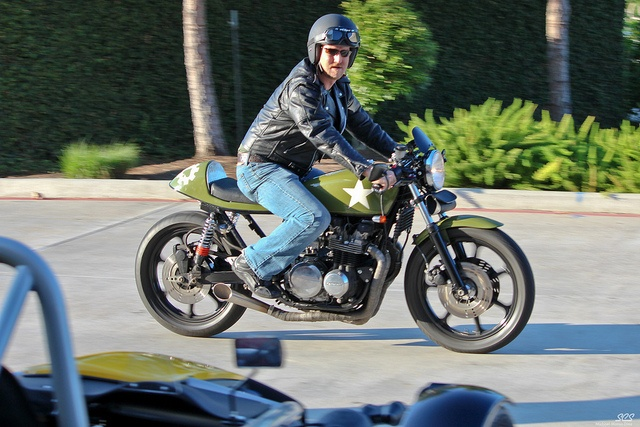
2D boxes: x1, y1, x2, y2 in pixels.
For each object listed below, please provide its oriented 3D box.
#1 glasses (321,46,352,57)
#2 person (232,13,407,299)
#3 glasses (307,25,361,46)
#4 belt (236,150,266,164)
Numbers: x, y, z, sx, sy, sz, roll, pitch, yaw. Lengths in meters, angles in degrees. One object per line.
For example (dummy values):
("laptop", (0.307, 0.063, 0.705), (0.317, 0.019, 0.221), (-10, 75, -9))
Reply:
("glasses", (0.131, -1.379, 4.965), (0.171, 0.029, 0.131), (1, 3, -8))
("person", (-0.066, -0.506, 5.242), (1.392, 2.454, 1.016), (1, 14, 4))
("glasses", (0.091, -1.489, 4.981), (0.306, 0.064, 0.239), (4, 3, 42))
("belt", (-0.613, -0.506, 5.261), (0.219, 0.049, 0.138), (3, 0, -6))
